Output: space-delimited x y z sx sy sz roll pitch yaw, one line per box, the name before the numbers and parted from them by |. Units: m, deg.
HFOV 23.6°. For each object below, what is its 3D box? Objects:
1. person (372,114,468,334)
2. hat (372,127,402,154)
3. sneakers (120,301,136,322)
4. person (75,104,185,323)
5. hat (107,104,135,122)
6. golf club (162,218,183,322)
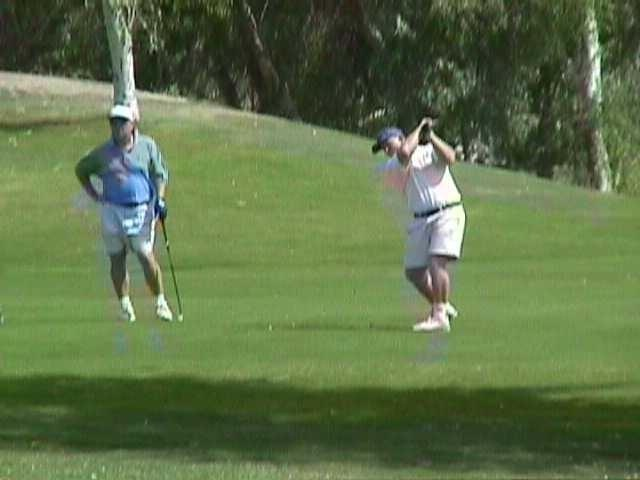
person | 1.176 -0.145 17.564 0.935 2.562 0.696 2 12 3
hat | 0.777 -1.127 17.614 0.276 0.309 0.332 6 -6 12
sneakers | -2.305 0.846 18.214 0.118 0.265 0.102 -10 22 10
person | -2.264 -0.233 17.914 1.027 2.549 0.515 0 11 -6
hat | -2.299 -1.439 17.856 0.212 0.200 0.283 3 0 37
golf club | -2.014 0.473 20.704 0.096 1.371 0.176 -20 -27 10
